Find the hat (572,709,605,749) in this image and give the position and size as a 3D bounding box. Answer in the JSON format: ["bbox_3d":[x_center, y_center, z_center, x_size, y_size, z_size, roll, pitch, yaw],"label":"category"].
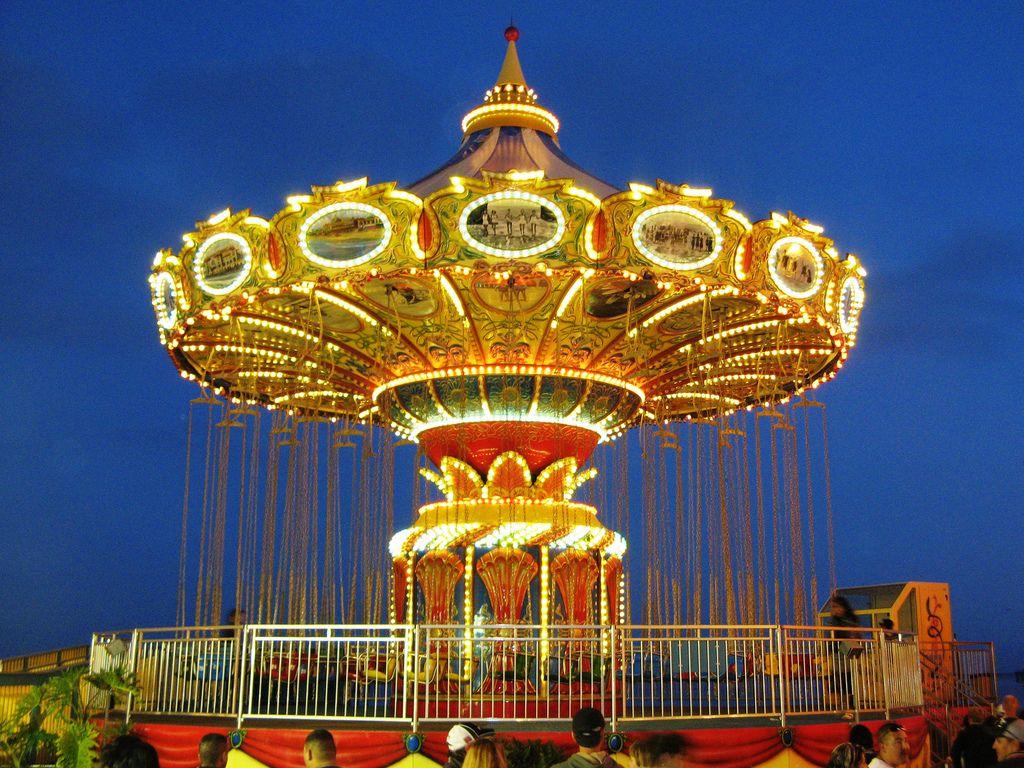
[{"bbox_3d":[0.652,3.002,11.983,0.237,0.411,0.382,0,-24,0],"label":"hat"}]

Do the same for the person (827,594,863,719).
[{"bbox_3d":[4.329,3.523,18.531,0.398,1.548,0.422,-3,16,5],"label":"person"}]

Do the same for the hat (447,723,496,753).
[{"bbox_3d":[-0.444,3.331,13.041,0.290,0.309,0.604,4,-24,-9],"label":"hat"}]
